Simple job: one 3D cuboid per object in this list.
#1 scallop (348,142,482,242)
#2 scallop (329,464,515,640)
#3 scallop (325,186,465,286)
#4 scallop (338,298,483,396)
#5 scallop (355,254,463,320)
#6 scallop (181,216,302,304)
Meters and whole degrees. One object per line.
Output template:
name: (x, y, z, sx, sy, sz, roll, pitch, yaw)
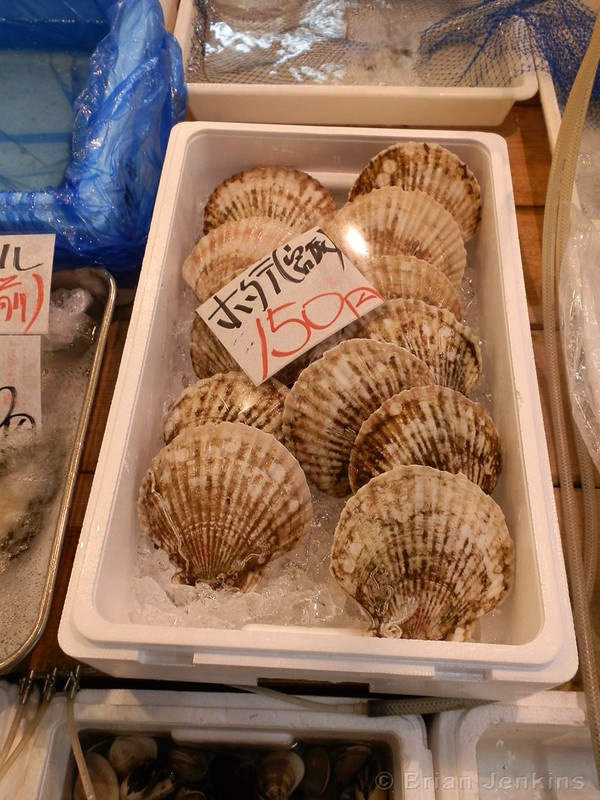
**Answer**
scallop: (0.199, -0.354, 1.117, 0.170, 0.200, 0.041, 23, 97, 15)
scallop: (0.137, 0.171, 0.788, 0.204, 0.067, 0.183, 3, 63, 0)
scallop: (0.152, -0.244, 1.065, 0.179, 0.195, 0.045, 23, 65, 2)
scallop: (0.140, -0.060, 0.979, 0.193, 0.199, 0.047, 4, 57, 6)
scallop: (0.162, -0.144, 1.019, 0.178, 0.119, 0.041, 0, 75, -34)
scallop: (-0.086, -0.223, 1.026, 0.127, 0.033, 0.143, 34, 82, 32)
